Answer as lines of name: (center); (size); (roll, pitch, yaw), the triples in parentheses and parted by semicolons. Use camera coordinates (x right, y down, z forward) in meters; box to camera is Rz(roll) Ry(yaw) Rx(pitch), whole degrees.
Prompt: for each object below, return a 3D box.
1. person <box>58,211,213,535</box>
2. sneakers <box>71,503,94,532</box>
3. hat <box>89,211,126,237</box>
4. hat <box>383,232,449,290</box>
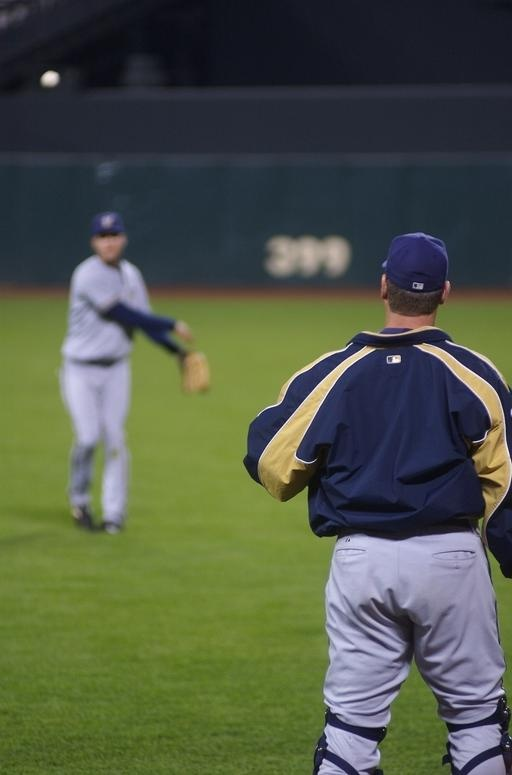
person: (-0.619, -0.031, 6.195); (0.811, 1.523, 0.382); (6, 13, 29)
sneakers: (-0.814, 0.625, 6.295); (0.054, 0.076, 0.136); (4, -34, 42)
hat: (-0.700, -0.747, 6.120); (0.151, 0.128, 0.156); (8, 14, 28)
hat: (0.447, -0.351, 3.716); (0.135, 0.111, 0.193); (4, 25, 2)
